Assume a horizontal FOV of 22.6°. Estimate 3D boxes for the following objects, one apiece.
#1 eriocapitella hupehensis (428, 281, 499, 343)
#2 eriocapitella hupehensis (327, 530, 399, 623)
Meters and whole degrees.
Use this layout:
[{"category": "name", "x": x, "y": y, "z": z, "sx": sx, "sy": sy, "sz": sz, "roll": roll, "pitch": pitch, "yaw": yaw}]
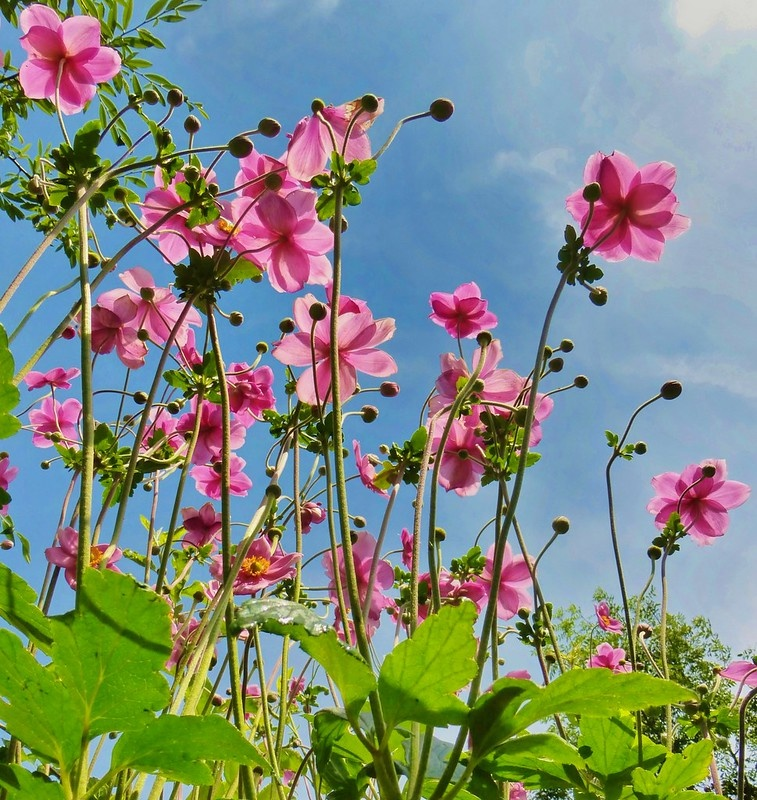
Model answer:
[{"category": "eriocapitella hupehensis", "x": 0.262, "y": -0.257, "z": 5.498, "sx": 0.189, "sy": 0.120, "sz": 0.212, "roll": 18, "pitch": -52, "yaw": 13}, {"category": "eriocapitella hupehensis", "x": -0.072, "y": 0.523, "z": 5.582, "sx": 0.271, "sy": 0.348, "sz": 0.119, "roll": 7, "pitch": -79, "yaw": 19}]
